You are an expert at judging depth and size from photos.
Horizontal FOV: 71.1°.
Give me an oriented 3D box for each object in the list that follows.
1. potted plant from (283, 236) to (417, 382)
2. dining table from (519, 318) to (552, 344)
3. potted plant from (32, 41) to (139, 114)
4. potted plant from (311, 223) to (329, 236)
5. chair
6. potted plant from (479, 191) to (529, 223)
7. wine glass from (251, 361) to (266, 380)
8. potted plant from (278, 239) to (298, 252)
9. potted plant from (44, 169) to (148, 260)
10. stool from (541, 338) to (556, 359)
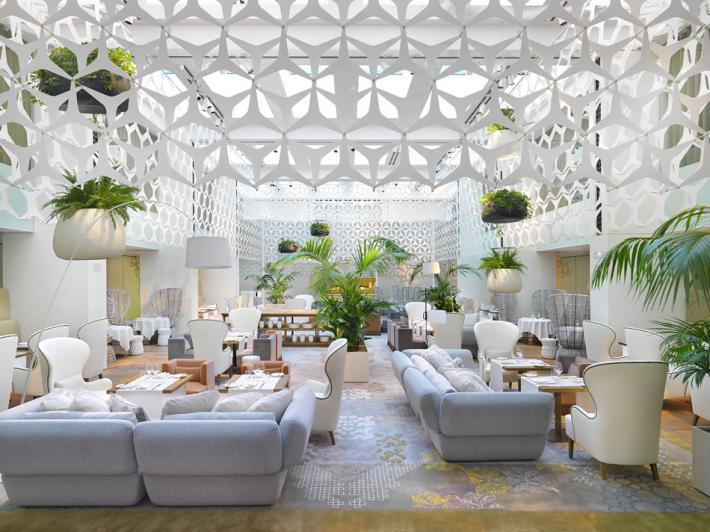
[{"bbox_3d":[-0.190,0.559,9.843,2.797,3.239,3.007,0,-4,-5],"label":"potted plant"},{"bbox_3d":[4.047,1.369,11.190,0.746,0.539,0.785,0,-3,31],"label":"dining table"},{"bbox_3d":[-2.979,-2.099,5.501,0.937,0.820,1.140,-6,12,-31],"label":"potted plant"},{"bbox_3d":[-1.172,-1.178,16.422,0.637,0.473,0.610,3,10,11],"label":"potted plant"},{"bbox_3d":[-3.992,1.364,7.038,1.263,1.627,1.353,-8,-12,34],"label":"chair"},{"bbox_3d":[2.275,-0.875,7.653,0.513,0.400,0.561,-1,-7,6],"label":"potted plant"},{"bbox_3d":[-1.276,1.383,6.572,0.155,0.257,0.154,8,-12,-38],"label":"wine glass"},{"bbox_3d":[-2.230,-0.613,16.564,0.429,0.340,0.469,2,-3,-4],"label":"potted plant"},{"bbox_3d":[-2.858,-0.568,5.627,0.904,0.869,0.896,4,1,-24],"label":"potted plant"},{"bbox_3d":[4.068,1.741,10.397,0.333,0.400,0.361,1,-8,4],"label":"stool"}]
